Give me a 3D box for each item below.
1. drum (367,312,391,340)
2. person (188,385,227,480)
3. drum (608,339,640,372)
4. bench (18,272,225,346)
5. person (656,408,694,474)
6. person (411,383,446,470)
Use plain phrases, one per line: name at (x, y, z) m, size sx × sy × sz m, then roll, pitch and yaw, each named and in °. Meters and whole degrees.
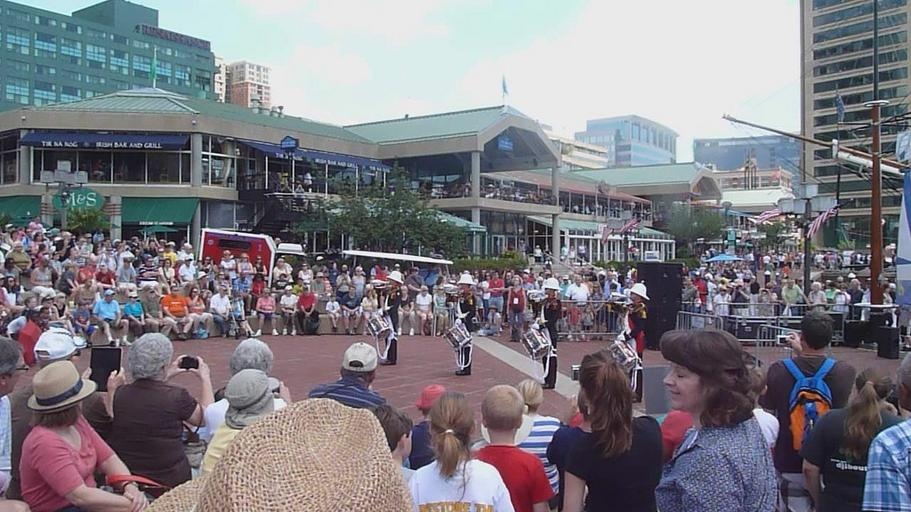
drum at (-3.491, 3.231, 43.807) m, size 1.094 × 1.110 × 0.454 m, roll 2°, pitch 0°, yaw -4°
person at (-9.185, 6.671, 35.947) m, size 1.215 × 3.465 × 1.415 m, roll 2°, pitch -1°, yaw 32°
drum at (7.326, 4.257, 40.360) m, size 1.540 × 0.661 × 1.246 m, roll 39°, pitch 0°, yaw 28°
bench at (-15.218, 2.830, 46.451) m, size 9.831 × 2.599 × 3.167 m, roll 3°, pitch -8°, yaw -23°
person at (8.122, 6.846, 34.996) m, size 0.867 × 2.365 × 0.982 m, roll 0°, pitch 0°, yaw 43°
person at (-1.143, 6.526, 35.814) m, size 1.041 × 3.429 × 0.923 m, roll 1°, pitch 0°, yaw 14°
